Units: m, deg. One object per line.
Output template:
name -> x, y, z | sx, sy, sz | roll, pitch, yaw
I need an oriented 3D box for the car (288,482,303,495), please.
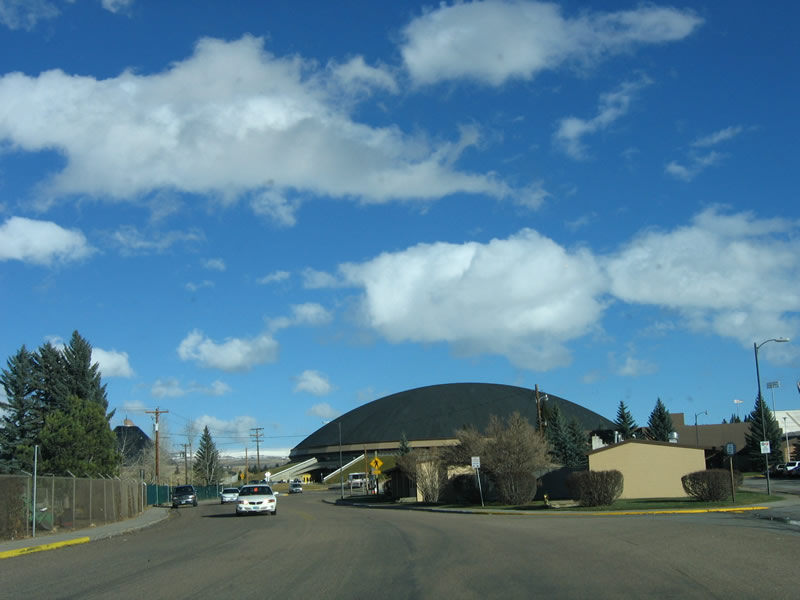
car -> -12.910, 23.316, 116.934 | 1.054, 0.845, 1.811 | 1, -24, -8

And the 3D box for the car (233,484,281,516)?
car -> -7.849, 10.945, 51.737 | 2.019, 1.766, 1.847 | -2, -13, -5

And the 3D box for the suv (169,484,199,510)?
suv -> -17.105, 15.600, 75.132 | 1.672, 1.751, 3.016 | -2, -14, -8
